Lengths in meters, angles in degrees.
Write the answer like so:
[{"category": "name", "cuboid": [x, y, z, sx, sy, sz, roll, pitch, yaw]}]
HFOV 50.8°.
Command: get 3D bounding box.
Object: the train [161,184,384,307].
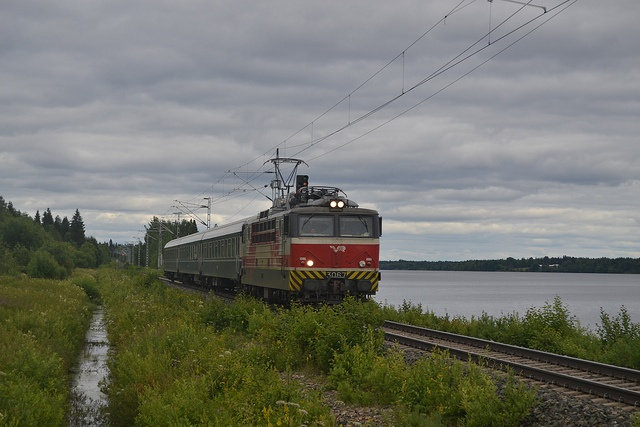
[{"category": "train", "cuboid": [-2.892, 2.347, 38.286, 4.132, 4.898, 23.551, 2, -5, -18]}]
